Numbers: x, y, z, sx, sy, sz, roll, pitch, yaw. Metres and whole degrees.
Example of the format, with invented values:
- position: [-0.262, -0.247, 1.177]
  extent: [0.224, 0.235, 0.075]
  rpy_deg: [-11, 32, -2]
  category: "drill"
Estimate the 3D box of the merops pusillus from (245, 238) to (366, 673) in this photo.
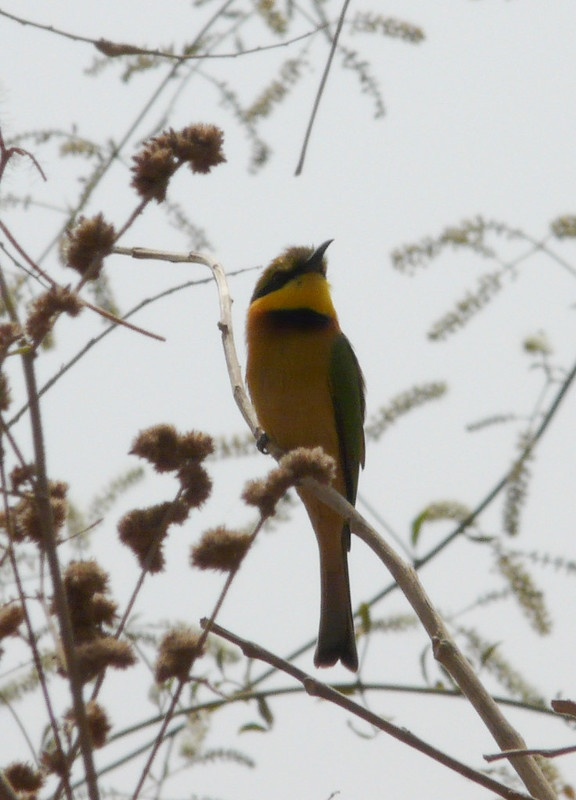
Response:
- position: [0.056, 0.133, 3.659]
  extent: [0.227, 0.383, 1.019]
  rpy_deg: [-2, -87, 0]
  category: "merops pusillus"
